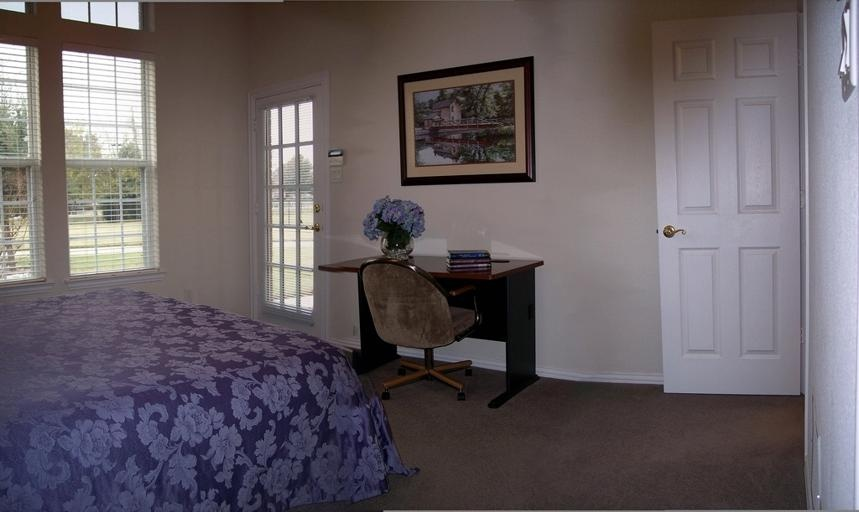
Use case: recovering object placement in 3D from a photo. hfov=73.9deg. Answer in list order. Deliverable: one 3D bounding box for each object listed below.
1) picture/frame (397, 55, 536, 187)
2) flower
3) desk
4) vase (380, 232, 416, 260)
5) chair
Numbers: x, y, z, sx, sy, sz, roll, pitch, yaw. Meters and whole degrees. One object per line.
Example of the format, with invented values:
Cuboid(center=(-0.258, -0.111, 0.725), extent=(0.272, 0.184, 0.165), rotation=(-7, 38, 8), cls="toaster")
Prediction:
Cuboid(center=(0.369, -1.176, 4.909), extent=(1.268, 0.894, 0.053), rotation=(2, 7, 31), cls="picture/frame")
Cuboid(center=(-0.265, -0.248, 4.688), extent=(0.523, 0.492, 0.530), rotation=(2, 5, 36), cls="flower")
Cuboid(center=(0.196, 0.454, 4.765), extent=(1.766, 1.088, 1.184), rotation=(0, 2, 29), cls="desk")
Cuboid(center=(-0.265, -0.070, 4.762), extent=(0.220, 0.138, 0.212), rotation=(-1, 4, -6), cls="vase")
Cuboid(center=(-0.043, 0.549, 4.547), extent=(0.921, 1.077, 0.878), rotation=(2, 8, 30), cls="chair")
